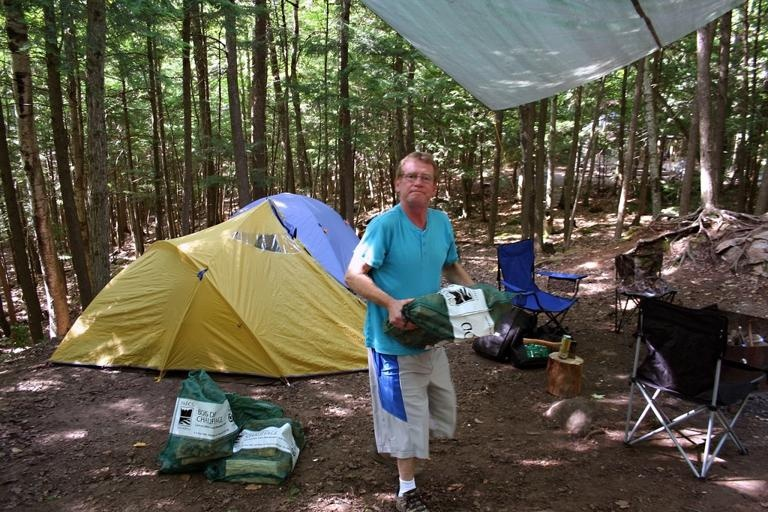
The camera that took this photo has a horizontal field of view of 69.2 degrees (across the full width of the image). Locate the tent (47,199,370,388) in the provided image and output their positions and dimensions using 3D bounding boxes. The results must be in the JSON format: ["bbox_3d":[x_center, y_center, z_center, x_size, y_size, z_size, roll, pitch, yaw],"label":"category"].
[{"bbox_3d":[-2.353,0.467,8.444,3.570,1.410,2.825,2,10,5],"label":"tent"}]

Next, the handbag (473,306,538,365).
[{"bbox_3d":[1.812,1.195,8.258,1.185,0.785,0.419,-24,-48,27],"label":"handbag"}]

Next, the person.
[{"bbox_3d":[0.291,0.786,5.772,1.073,3.701,0.584,-12,10,-36],"label":"person"}]

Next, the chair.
[{"bbox_3d":[3.442,1.361,6.432,1.501,1.846,1.469,1,9,40],"label":"chair"}]
